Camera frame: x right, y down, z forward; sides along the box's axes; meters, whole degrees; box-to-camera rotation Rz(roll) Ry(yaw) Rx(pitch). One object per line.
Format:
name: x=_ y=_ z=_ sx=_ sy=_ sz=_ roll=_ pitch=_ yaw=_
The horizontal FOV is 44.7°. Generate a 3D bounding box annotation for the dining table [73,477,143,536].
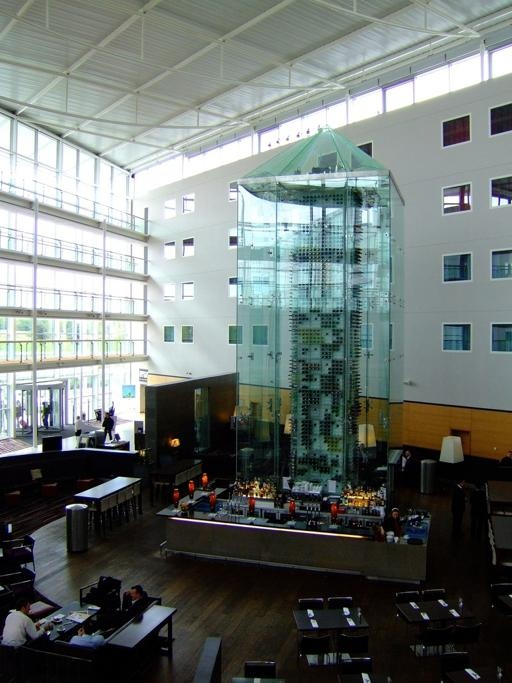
dining table: x=-3.118 y=3.532 z=13.430 sx=0.590 sy=0.757 sz=1.547 roll=-3 pitch=2 yaw=23

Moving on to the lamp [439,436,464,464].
lamp: x=4.924 y=2.750 z=15.838 sx=0.707 sy=0.844 sz=0.668 roll=-4 pitch=-2 yaw=20

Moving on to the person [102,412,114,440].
person: x=-4.830 y=2.795 z=20.264 sx=0.296 sy=1.032 sz=1.282 roll=-1 pitch=3 yaw=-14

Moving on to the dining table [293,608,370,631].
dining table: x=0.955 y=3.719 z=8.212 sx=0.926 sy=0.226 sz=0.632 roll=0 pitch=3 yaw=-7
